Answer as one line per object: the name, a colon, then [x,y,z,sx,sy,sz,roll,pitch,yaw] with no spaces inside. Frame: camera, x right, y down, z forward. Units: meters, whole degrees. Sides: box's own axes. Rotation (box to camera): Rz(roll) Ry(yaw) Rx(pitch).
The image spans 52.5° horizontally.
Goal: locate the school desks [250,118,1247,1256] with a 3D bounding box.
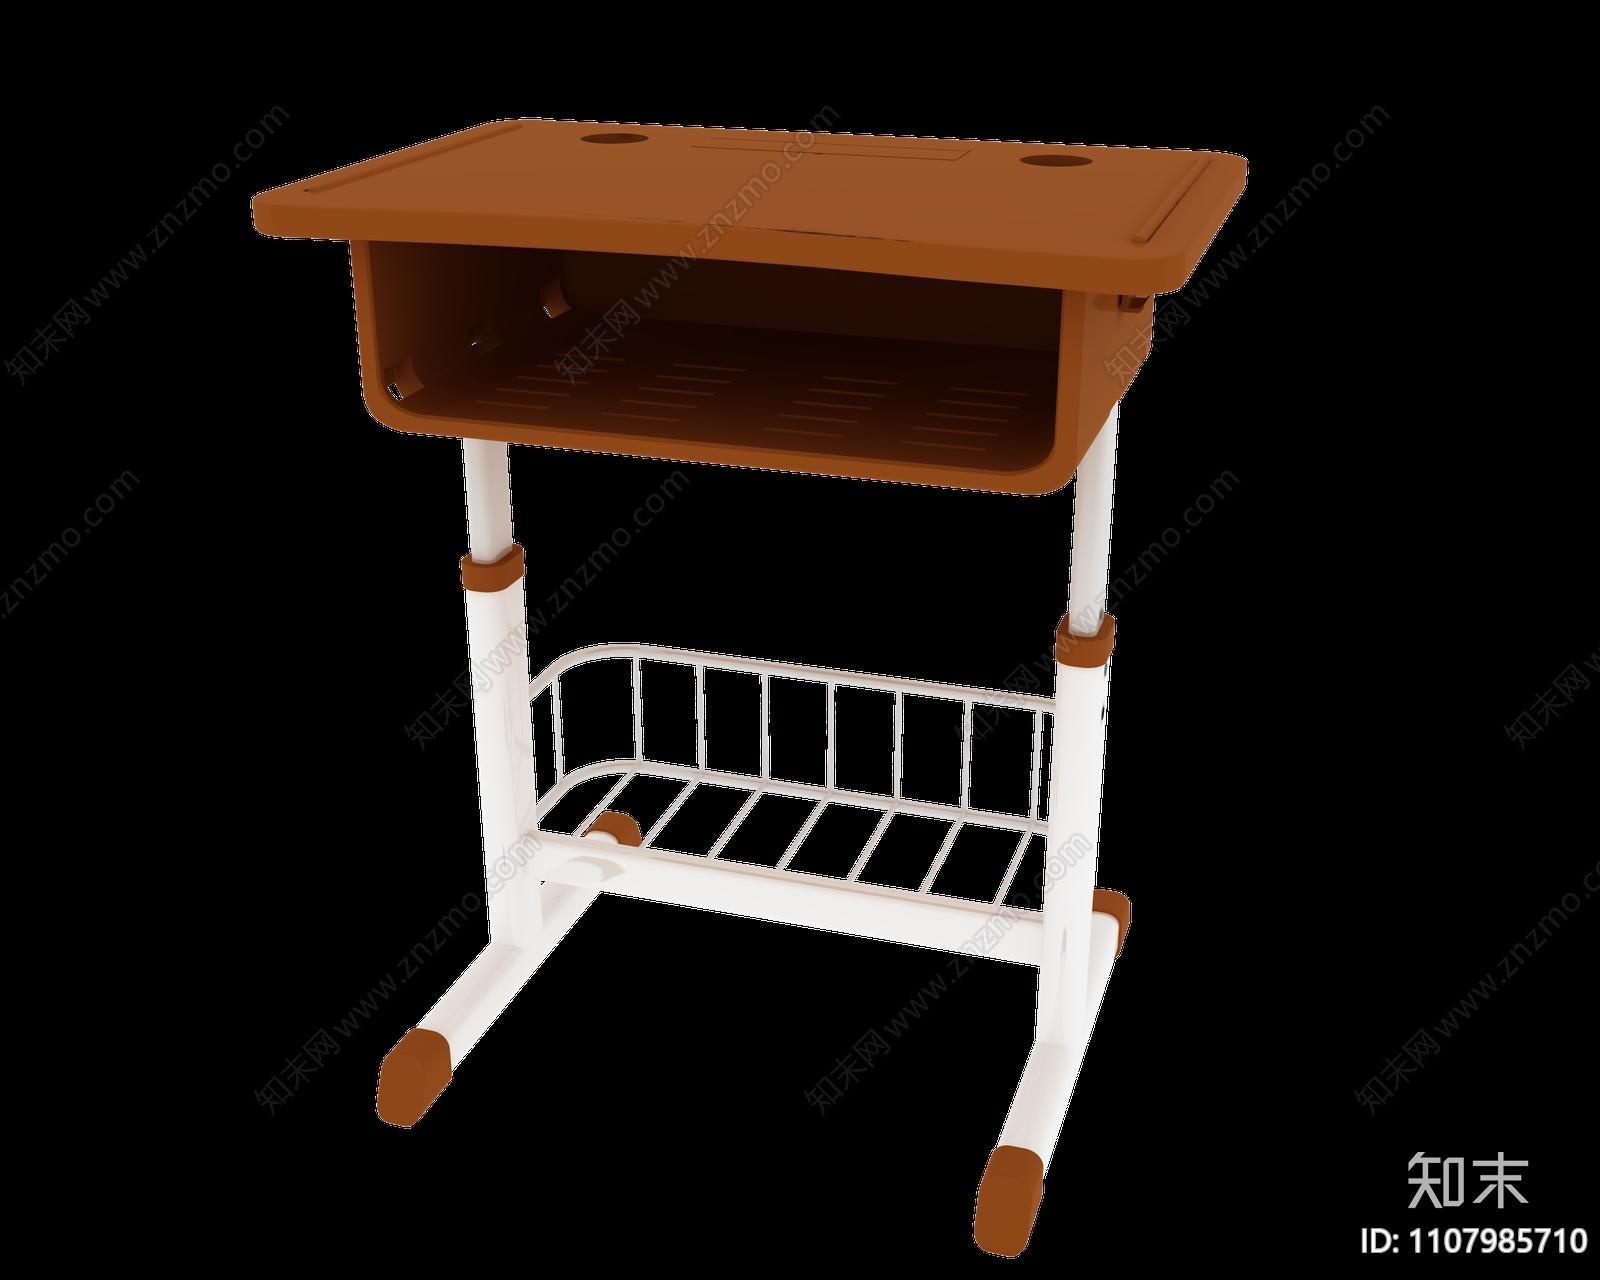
school desks: [-0.042,-0.094,2.342,1.126,1.122,0.864,8,26,12]
